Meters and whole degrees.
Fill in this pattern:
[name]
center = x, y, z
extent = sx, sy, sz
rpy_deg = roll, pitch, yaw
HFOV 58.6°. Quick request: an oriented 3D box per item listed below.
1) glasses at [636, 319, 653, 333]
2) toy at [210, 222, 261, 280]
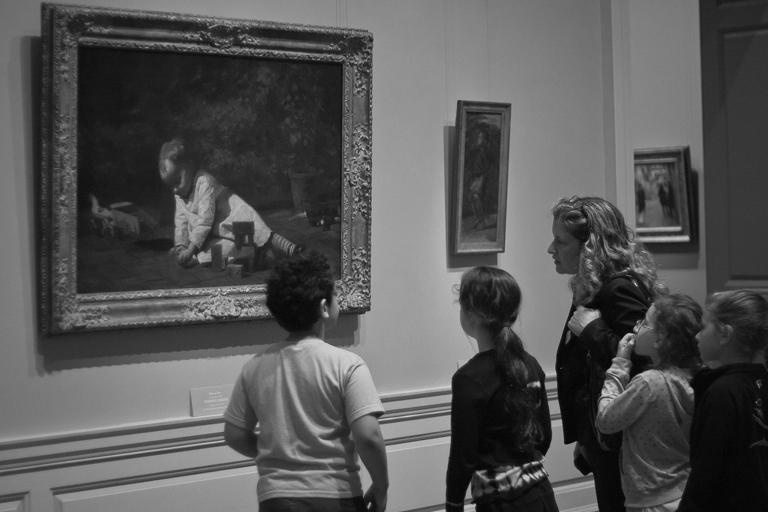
[glasses]
center = 1.663, 0.454, 4.360
extent = 0.081, 0.027, 0.083
rpy_deg = 9, 3, -2
[toy]
center = -1.127, -0.032, 5.527
extent = 0.476, 0.511, 0.368
rpy_deg = 0, 9, -3
